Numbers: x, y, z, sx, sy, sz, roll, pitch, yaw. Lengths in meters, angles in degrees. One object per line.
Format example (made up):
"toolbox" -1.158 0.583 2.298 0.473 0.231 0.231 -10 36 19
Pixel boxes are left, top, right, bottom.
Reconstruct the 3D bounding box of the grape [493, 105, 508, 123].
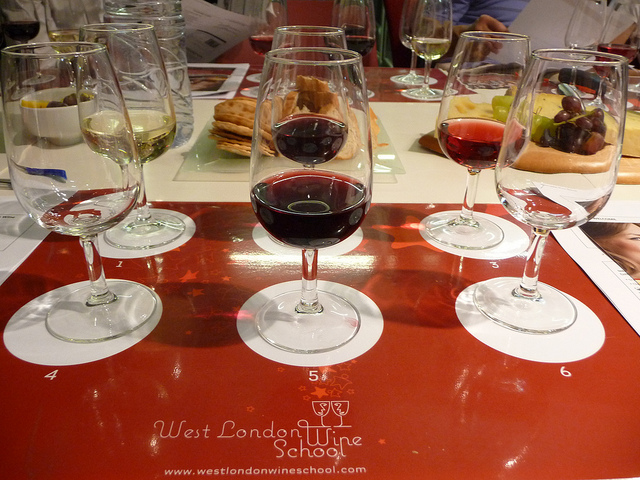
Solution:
"grape" 0.312 -0.218 0.820 0.027 0.011 0.033 0 56 -2

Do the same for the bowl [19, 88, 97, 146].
"bowl" -0.327 -0.150 0.599 0.092 0.055 0.082 -16 31 -27

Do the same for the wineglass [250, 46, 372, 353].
"wineglass" -0.013 -0.060 0.621 0.154 0.337 0.255 -1 33 -8

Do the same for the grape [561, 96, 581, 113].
"grape" 0.340 -0.182 0.646 0.025 0.017 0.017 22 5 -14

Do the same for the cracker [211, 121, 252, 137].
"cracker" -0.190 -0.242 1.027 0.052 0.007 0.046 14 2 6
